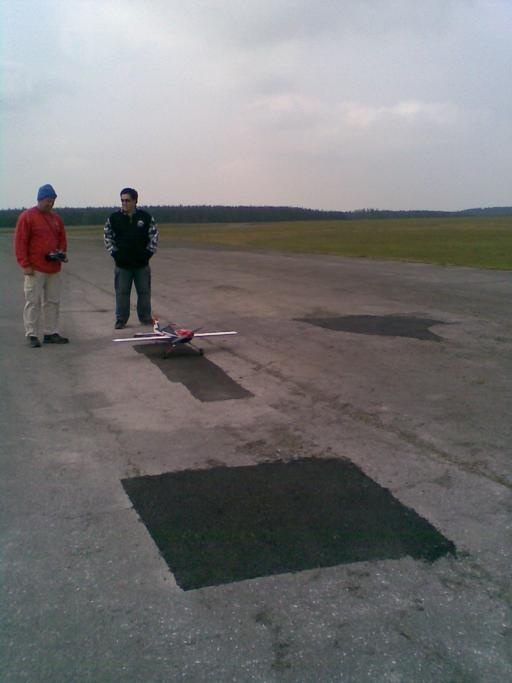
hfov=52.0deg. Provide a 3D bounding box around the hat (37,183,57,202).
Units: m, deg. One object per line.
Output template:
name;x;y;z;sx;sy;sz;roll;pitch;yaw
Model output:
hat;-2.518;-1.780;6.269;0.182;0.190;0.333;-5;13;-26

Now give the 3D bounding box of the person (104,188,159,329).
person;-1.817;-1.194;7.613;0.739;1.944;0.774;-3;12;-17

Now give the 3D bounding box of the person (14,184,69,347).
person;-2.670;-0.937;6.515;0.599;1.947;0.491;-7;13;-33

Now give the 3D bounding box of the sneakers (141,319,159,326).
sneakers;-1.548;-0.284;7.550;0.110;0.059;0.181;13;14;39

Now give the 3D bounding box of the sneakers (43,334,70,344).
sneakers;-2.569;-0.039;6.724;0.303;0.146;0.149;-1;4;-7

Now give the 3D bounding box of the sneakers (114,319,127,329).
sneakers;-1.977;-0.260;7.577;0.073;0.106;0.235;2;16;-3

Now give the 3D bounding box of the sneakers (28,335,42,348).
sneakers;-2.751;-0.003;6.463;0.146;0.138;0.137;-6;13;-28
